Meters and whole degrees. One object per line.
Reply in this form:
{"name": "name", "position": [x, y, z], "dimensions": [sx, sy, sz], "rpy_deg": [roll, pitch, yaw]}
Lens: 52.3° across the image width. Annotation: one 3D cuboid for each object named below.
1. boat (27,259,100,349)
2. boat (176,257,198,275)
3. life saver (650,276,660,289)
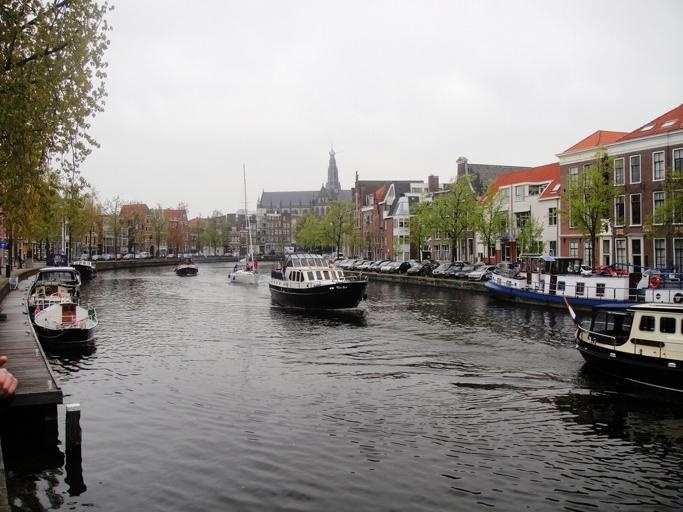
{"name": "boat", "position": [-15.502, 2.715, 38.441], "dimensions": [2.988, 3.272, 11.083], "rpy_deg": [0, 3, -23]}
{"name": "boat", "position": [-21.556, 1.446, 97.065], "dimensions": [2.401, 2.370, 6.682], "rpy_deg": [-1, -3, -11]}
{"name": "life saver", "position": [17.812, 1.410, 39.609], "dimensions": [0.488, 0.635, 0.656], "rpy_deg": [1, -3, 16]}
